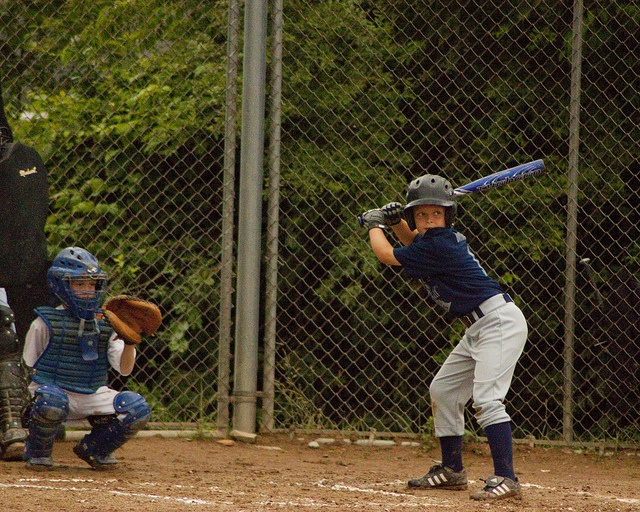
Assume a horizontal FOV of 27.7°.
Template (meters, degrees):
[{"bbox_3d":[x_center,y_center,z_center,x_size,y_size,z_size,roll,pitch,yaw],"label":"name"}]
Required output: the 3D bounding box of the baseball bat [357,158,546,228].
[{"bbox_3d":[0.828,-0.408,8.384,1.030,0.142,0.137,-20,-42,1],"label":"baseball bat"}]

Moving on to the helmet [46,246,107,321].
[{"bbox_3d":[-1.441,0.145,7.548,0.408,0.394,0.322,10,7,38],"label":"helmet"}]

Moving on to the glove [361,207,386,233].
[{"bbox_3d":[0.312,-0.207,7.640,0.109,0.136,0.067,-6,-25,17],"label":"glove"}]

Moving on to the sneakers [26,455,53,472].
[{"bbox_3d":[-1.592,1.172,7.283,0.115,0.043,0.078,2,-1,-9],"label":"sneakers"}]

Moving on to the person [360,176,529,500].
[{"bbox_3d":[0.741,0.454,7.443,0.860,1.829,0.365,-1,-5,19],"label":"person"}]

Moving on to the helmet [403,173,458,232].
[{"bbox_3d":[0.631,-0.321,7.510,0.309,0.287,0.378,9,17,28],"label":"helmet"}]

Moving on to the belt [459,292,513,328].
[{"bbox_3d":[0.940,0.300,7.363,0.241,0.057,0.237,-33,-11,3],"label":"belt"}]

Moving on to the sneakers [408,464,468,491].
[{"bbox_3d":[0.679,1.277,7.459,0.376,0.155,0.131,4,-5,-6],"label":"sneakers"}]

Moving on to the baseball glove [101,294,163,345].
[{"bbox_3d":[-1.084,0.375,7.445,0.323,0.254,0.136,39,-16,-12],"label":"baseball glove"}]

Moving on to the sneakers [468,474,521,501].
[{"bbox_3d":[0.974,1.297,7.227,0.288,0.118,0.121,2,-6,-9],"label":"sneakers"}]
